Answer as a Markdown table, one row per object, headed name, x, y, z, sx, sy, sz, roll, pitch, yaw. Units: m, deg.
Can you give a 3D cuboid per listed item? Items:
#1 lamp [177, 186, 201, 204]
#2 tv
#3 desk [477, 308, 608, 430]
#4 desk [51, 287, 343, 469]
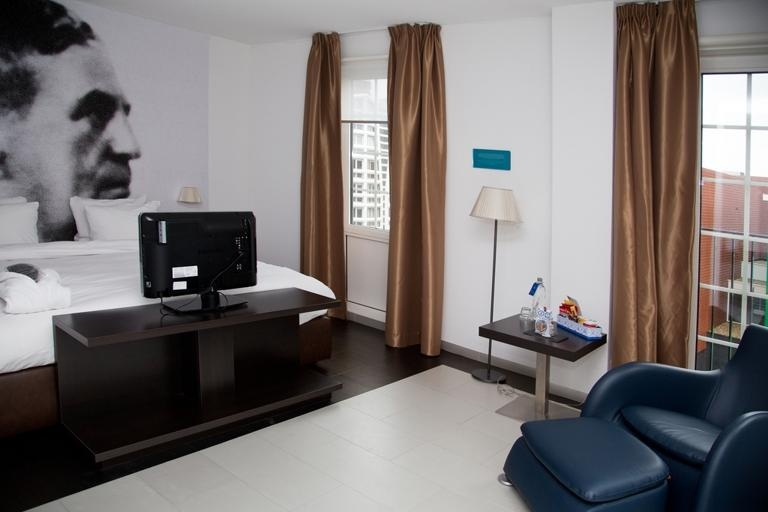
| name | x | y | z | sx | sy | sz | roll | pitch | yaw |
| --- | --- | --- | --- | --- | --- | --- | --- | --- | --- |
| lamp | -2.221 | -0.708 | 6.258 | 0.207 | 0.168 | 0.211 | 3 | 9 | 17 |
| tv | -1.251 | 0.022 | 3.889 | 0.786 | 0.688 | 0.247 | -5 | 10 | -33 |
| desk | 1.213 | 0.720 | 4.386 | 0.793 | 0.777 | 0.801 | 13 | 20 | 40 |
| desk | -1.291 | 0.797 | 4.168 | 1.892 | 0.849 | 0.815 | -5 | 9 | -39 |
